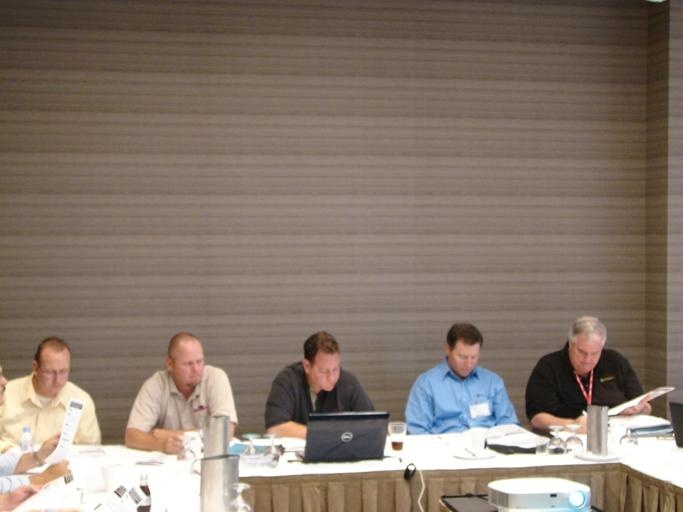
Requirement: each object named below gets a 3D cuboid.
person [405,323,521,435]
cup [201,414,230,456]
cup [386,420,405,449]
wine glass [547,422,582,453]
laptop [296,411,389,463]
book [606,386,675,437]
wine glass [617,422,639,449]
[{"bbox_3d":[0.755,0.963,5.945,0.994,0.984,0.694,-1,-5,-8],"label":"person"},{"bbox_3d":[-0.623,0.906,4.026,0.131,0.197,0.285,-2,-8,-10],"label":"cup"},{"bbox_3d":[0.335,1.108,4.949,0.141,0.167,0.149,0,-9,0],"label":"cup"},{"bbox_3d":[1.386,1.135,4.999,0.176,0.117,0.071,0,-7,-4],"label":"wine glass"},{"bbox_3d":[0.035,1.056,4.675,0.426,0.311,0.311,2,24,-13],"label":"laptop"},{"bbox_3d":[1.955,0.989,5.292,0.340,0.161,0.447,-12,-10,40],"label":"book"},{"bbox_3d":[1.745,1.116,5.016,0.123,0.175,0.134,0,-12,3],"label":"wine glass"}]
